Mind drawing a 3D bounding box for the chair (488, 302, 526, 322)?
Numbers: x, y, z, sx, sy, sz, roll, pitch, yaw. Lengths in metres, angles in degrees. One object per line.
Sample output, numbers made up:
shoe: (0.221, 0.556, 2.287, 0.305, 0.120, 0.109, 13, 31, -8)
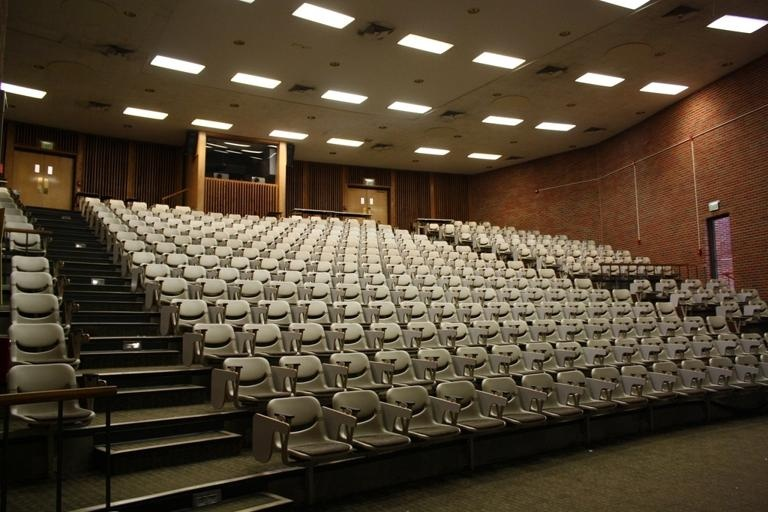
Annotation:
chair: (2.368, 1.074, 9.799, 0.460, 0.491, 0.446, 3, -14, -11)

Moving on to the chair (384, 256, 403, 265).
chair: (0.220, 0.094, 12.442, 0.455, 0.226, 0.532, -1, -3, 13)

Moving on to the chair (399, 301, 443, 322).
chair: (0.651, 1.018, 9.208, 0.545, 0.287, 0.476, 3, -10, -16)

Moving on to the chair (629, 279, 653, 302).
chair: (6.481, 0.889, 12.816, 0.701, 0.556, 0.635, 0, -6, 3)

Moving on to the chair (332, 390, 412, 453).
chair: (-0.129, 1.799, 5.725, 0.770, 0.436, 0.661, 7, -13, -32)

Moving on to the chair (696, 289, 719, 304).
chair: (7.535, 0.948, 11.831, 0.385, 0.304, 0.447, 1, -14, 4)

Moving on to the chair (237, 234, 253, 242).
chair: (-3.417, -0.436, 12.382, 0.253, 0.264, 0.251, -1, 2, -33)

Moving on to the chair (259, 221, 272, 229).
chair: (-3.331, -0.829, 14.056, 0.294, 0.316, 0.305, 3, -10, -24)

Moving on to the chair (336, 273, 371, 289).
chair: (-0.624, 0.465, 10.209, 0.482, 0.398, 0.373, 0, -12, 1)

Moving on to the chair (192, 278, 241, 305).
chair: (-2.789, 0.561, 8.377, 0.570, 0.406, 0.426, 3, -12, -21)

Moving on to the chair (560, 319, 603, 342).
chair: (3.644, 1.375, 9.399, 0.477, 0.281, 0.607, 2, 7, -15)

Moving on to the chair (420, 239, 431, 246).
chair: (1.233, -0.371, 14.874, 0.198, 0.175, 0.248, -2, 2, 37)

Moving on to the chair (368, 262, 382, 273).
chair: (-0.217, 0.276, 11.408, 0.255, 0.183, 0.210, 3, -9, -13)

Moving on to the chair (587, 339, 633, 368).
chair: (3.919, 1.656, 8.726, 0.615, 0.440, 0.501, 3, -14, -13)

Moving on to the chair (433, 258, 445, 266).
chair: (1.403, 0.152, 12.708, 0.224, 0.216, 0.194, 9, -10, -34)

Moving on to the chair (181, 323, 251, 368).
chair: (-2.192, 1.117, 6.491, 0.829, 0.429, 0.588, 5, -15, -31)

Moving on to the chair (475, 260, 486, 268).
chair: (2.512, 0.216, 13.170, 0.245, 0.174, 0.178, -2, -3, 10)

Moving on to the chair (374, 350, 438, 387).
chair: (0.240, 1.529, 6.942, 0.633, 0.627, 0.587, 5, -18, -22)

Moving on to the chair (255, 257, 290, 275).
chair: (-2.312, 0.200, 10.434, 0.400, 0.425, 0.397, 2, -9, -10)

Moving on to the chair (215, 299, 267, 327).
chair: (-2.118, 0.858, 7.609, 0.483, 0.460, 0.475, 3, -10, -23)

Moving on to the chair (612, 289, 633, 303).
chair: (5.700, 0.941, 12.114, 0.386, 0.399, 0.379, 0, -11, 6)

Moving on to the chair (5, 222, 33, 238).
chair: (-6.114, -0.422, 8.442, 0.374, 0.323, 0.384, 2, 0, -42)

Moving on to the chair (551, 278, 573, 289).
chair: (4.411, 0.671, 12.519, 0.297, 0.246, 0.356, 5, -21, -15)

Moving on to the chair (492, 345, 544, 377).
chair: (2.084, 1.559, 7.760, 0.623, 0.347, 0.545, 4, -11, -23)

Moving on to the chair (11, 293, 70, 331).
chair: (-4.155, 0.655, 6.124, 0.577, 0.448, 0.470, 7, -18, -37)

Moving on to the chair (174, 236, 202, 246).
chair: (-4.255, -0.322, 10.944, 0.320, 0.323, 0.291, -4, -5, 39)

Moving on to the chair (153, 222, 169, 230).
chair: (-5.211, -0.693, 11.845, 0.273, 0.293, 0.276, 1, -3, -29)

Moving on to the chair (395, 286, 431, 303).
chair: (0.530, 0.764, 10.019, 0.461, 0.451, 0.422, 3, -11, -14)

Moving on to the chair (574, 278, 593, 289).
chair: (5.070, 0.712, 12.929, 0.348, 0.310, 0.416, -6, -8, 12)

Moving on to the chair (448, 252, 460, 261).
chair: (1.941, 0.006, 14.043, 0.245, 0.282, 0.276, -3, -17, 35)

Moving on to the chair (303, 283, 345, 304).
chair: (-1.145, 0.677, 9.242, 0.472, 0.253, 0.459, -1, -6, 18)

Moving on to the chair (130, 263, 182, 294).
chair: (-3.826, 0.326, 8.407, 0.693, 0.475, 0.513, 4, -10, -29)

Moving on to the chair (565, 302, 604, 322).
chair: (4.128, 1.135, 10.388, 0.621, 0.224, 0.415, 3, -3, -22)

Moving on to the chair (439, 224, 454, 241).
chair: (2.164, -0.791, 17.204, 0.518, 0.548, 0.525, 1, -2, 3)

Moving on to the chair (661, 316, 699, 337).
chair: (6.001, 1.446, 10.208, 0.590, 0.294, 0.451, 2, -9, -8)

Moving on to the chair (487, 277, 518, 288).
chair: (2.782, 0.620, 11.883, 0.495, 0.151, 0.330, 4, -6, -12)

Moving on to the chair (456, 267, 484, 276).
chair: (2.097, 0.391, 12.328, 0.437, 0.133, 0.314, 5, -6, -32)

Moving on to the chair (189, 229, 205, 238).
chair: (-4.323, -0.503, 11.675, 0.218, 0.227, 0.223, 2, -7, -31)

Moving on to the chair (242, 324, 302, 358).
chair: (-1.521, 1.155, 6.931, 0.535, 0.336, 0.601, 4, -10, -21)

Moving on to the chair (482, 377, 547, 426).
chair: (1.679, 1.853, 6.605, 0.642, 0.424, 0.634, 4, -9, -29)

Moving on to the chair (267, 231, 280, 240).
chair: (-2.910, -0.532, 13.257, 0.316, 0.267, 0.318, 3, 8, 25)

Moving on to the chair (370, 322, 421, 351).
chair: (0.204, 1.258, 7.955, 0.622, 0.428, 0.489, 5, -17, -16)

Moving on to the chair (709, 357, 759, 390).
chair: (5.753, 1.907, 8.489, 0.769, 0.446, 0.613, 3, -11, -12)

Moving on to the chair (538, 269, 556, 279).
chair: (4.272, 0.464, 13.185, 0.285, 0.305, 0.286, 0, -12, 0)

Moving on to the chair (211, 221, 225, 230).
chair: (-4.307, -0.783, 13.147, 0.282, 0.308, 0.303, -1, 3, -42)

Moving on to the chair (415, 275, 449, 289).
chair: (1.044, 0.555, 11.160, 0.519, 0.167, 0.346, 3, -8, -11)

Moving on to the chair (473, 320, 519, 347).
chair: (1.867, 1.313, 8.664, 0.629, 0.318, 0.480, 3, -11, -19)
